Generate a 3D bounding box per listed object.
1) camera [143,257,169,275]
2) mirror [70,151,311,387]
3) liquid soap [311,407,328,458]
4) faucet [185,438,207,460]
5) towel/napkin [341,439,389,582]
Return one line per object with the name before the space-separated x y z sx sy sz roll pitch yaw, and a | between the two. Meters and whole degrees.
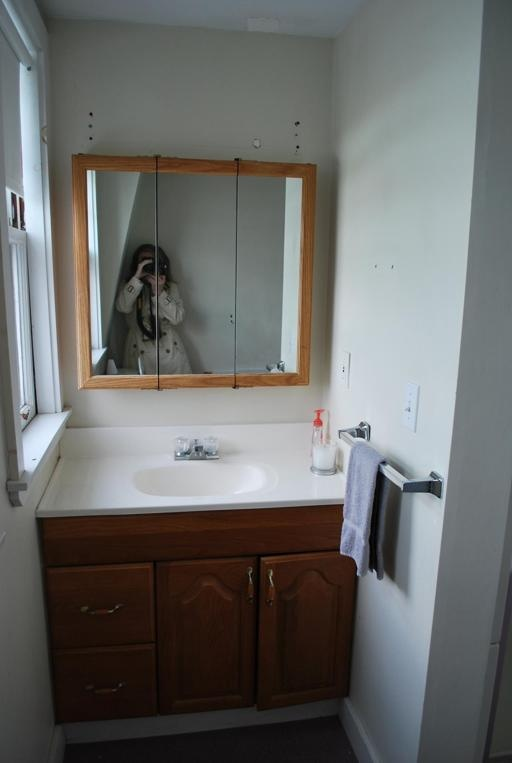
camera | -0.326 -0.375 1.753 0.079 0.078 0.038 -2 9 -14
mirror | -0.235 -0.393 1.762 0.573 0.755 0.028 0 5 -10
liquid soap | 0.223 0.152 1.877 0.061 0.138 0.264 2 11 7
faucet | -0.202 0.235 1.865 0.068 0.054 0.076 0 11 -5
towel/napkin | 0.270 0.322 1.403 0.093 0.323 0.235 2 10 10
